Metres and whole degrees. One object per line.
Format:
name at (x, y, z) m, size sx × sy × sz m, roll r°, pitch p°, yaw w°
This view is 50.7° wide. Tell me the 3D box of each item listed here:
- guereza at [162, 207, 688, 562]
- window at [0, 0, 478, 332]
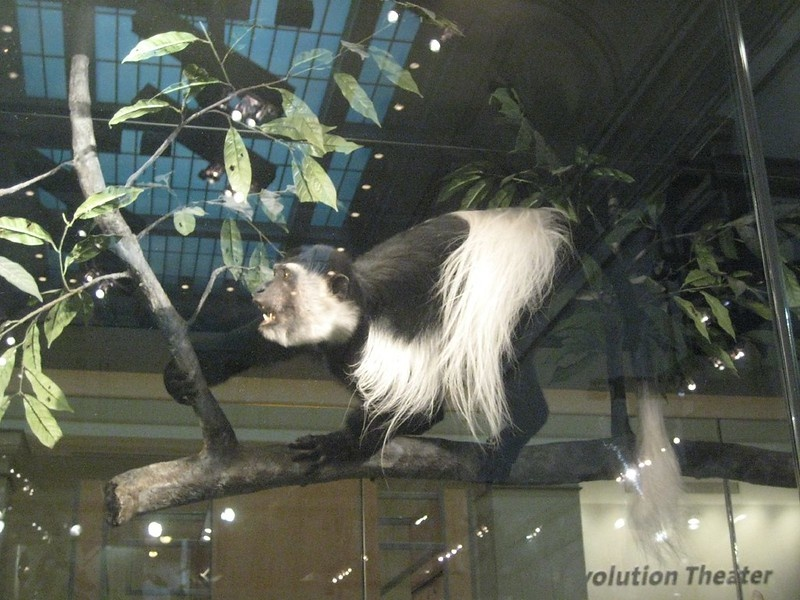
guereza at (0.051, 0.073, 1.964) m, size 1.088 × 0.565 × 0.339 m, roll 6°, pitch 8°, yaw -41°
window at (-0.355, -0.323, 1.875) m, size 0.928 × 0.441 × 0.328 m, roll -11°, pitch 14°, yaw -7°
